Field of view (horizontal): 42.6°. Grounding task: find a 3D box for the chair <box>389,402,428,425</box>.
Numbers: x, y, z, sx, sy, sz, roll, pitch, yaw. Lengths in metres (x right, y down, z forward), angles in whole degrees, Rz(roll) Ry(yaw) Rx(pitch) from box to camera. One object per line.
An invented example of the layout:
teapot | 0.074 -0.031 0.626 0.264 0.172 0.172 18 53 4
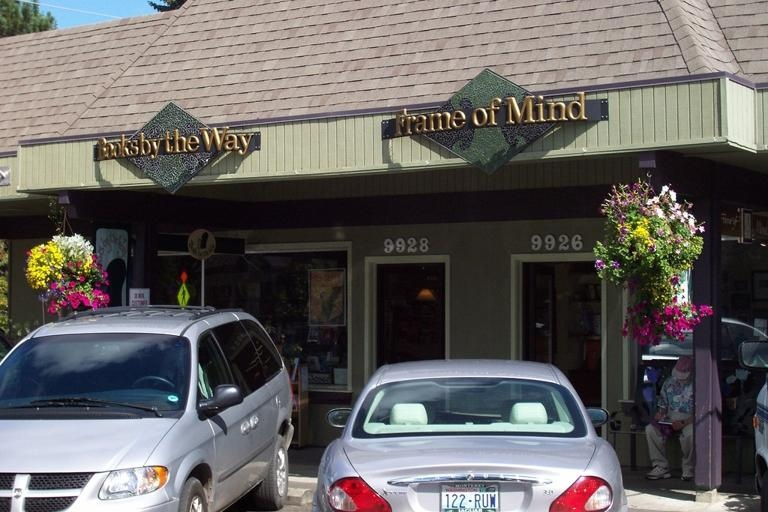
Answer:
chair | 0.276 1.598 9.945 0.271 0.275 0.203 0 -7 -2

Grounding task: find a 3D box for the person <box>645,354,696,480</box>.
person | 4.333 2.380 14.654 0.773 1.826 0.820 0 -2 35

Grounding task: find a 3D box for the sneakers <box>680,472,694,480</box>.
sneakers | 4.444 3.203 14.350 0.162 0.135 0.238 1 -2 15

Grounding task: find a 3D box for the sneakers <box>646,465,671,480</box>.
sneakers | 4.080 3.206 14.663 0.388 0.206 0.153 2 1 -2

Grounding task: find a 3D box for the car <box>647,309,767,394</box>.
car | 5.043 1.513 15.527 1.813 1.041 1.201 -10 -3 3
